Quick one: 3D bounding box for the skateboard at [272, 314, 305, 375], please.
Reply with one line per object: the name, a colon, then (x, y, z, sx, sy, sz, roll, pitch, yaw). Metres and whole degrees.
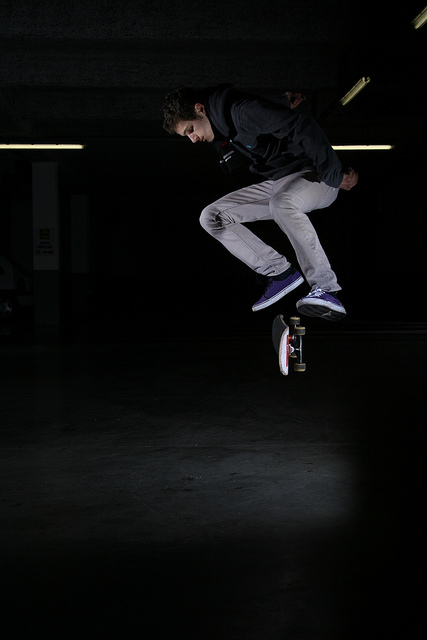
skateboard: (0.496, 0.157, 3.896, 0.180, 0.416, 0.068, 1, 8, 9)
